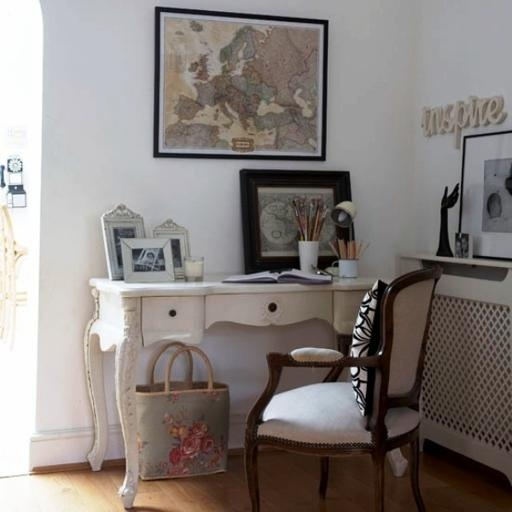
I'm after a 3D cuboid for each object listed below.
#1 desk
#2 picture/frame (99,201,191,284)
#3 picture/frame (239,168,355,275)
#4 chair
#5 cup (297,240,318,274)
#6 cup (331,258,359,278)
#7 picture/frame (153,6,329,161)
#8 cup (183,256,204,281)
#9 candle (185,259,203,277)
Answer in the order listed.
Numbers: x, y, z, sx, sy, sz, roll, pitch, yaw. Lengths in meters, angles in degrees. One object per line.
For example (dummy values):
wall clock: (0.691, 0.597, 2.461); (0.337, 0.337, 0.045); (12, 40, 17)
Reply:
desk: (-0.110, 0.521, 1.916); (0.716, 0.559, 0.344); (0, 0, -24)
picture/frame: (-0.464, -0.061, 2.207); (0.378, 0.316, 0.224); (0, 2, -19)
picture/frame: (0.168, -0.148, 2.378); (0.420, 0.504, 0.036); (-1, -2, -18)
chair: (0.307, 0.374, 1.895); (0.643, 1.089, 0.688); (1, -2, 34)
cup: (0.236, 0.004, 2.289); (0.111, 0.198, 0.115); (0, 6, 0)
cup: (0.402, 0.056, 2.214); (0.072, 0.083, 0.074); (0, 0, 0)
picture/frame: (-0.101, -0.803, 2.359); (0.646, 0.595, 0.032); (0, 2, -22)
cup: (-0.245, 0.053, 2.030); (0.074, 0.103, 0.082); (0, 1, 0)
candle: (-0.242, 0.047, 2.028); (0.063, 0.073, 0.060); (-1, 5, -14)
